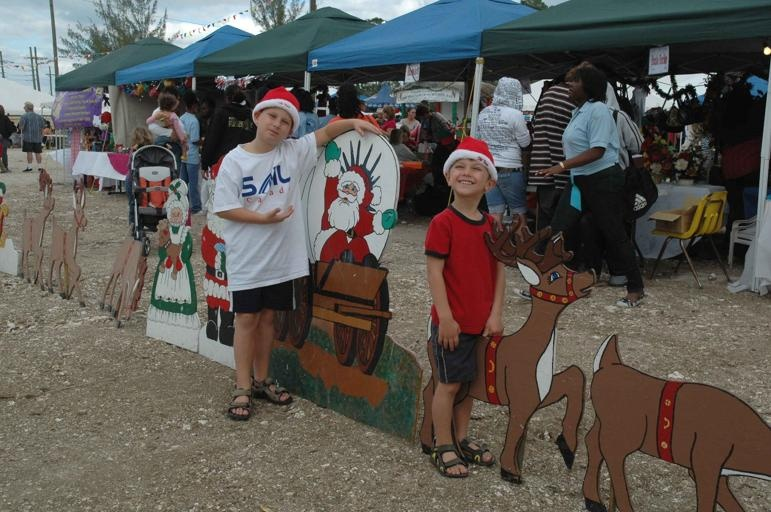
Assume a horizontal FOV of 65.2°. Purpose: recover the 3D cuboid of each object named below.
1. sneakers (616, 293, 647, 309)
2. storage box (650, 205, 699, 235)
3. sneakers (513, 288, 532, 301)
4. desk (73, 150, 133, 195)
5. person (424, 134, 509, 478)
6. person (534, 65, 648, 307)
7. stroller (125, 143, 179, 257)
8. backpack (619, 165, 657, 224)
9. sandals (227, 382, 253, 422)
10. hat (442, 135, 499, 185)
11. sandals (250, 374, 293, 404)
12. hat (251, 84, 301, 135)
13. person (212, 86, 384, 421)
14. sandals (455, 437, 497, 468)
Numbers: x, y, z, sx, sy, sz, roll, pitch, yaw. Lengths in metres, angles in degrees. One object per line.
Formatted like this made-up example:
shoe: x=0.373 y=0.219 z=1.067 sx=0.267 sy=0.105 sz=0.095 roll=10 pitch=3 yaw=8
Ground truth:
sneakers: x=2.596 y=0.470 z=6.342 sx=0.351 sy=0.141 sz=0.136 roll=-1 pitch=0 yaw=-40
storage box: x=3.365 y=-0.439 z=7.059 sx=0.472 sy=0.373 sz=0.352 roll=6 pitch=15 yaw=20
sneakers: x=1.500 y=0.406 z=6.604 sx=0.154 sy=0.065 sz=0.401 roll=2 pitch=14 yaw=5
desk: x=-5.723 y=-1.833 z=12.324 sx=1.331 sy=0.582 sz=0.604 roll=10 pitch=16 yaw=31
person: x=0.478 y=0.314 z=3.714 sx=0.481 sy=2.036 sz=0.483 roll=-4 pitch=14 yaw=-19
person: x=2.293 y=-0.767 z=6.340 sx=1.038 sy=2.452 sz=0.976 roll=-11 pitch=18 yaw=-41
stroller: x=-3.196 y=-0.901 z=8.283 sx=0.622 sy=1.234 sz=0.507 roll=-4 pitch=14 yaw=-20
backpack: x=2.819 y=-0.690 z=6.748 sx=0.299 sy=0.565 sz=0.579 roll=10 pitch=33 yaw=33
sandals: x=-1.014 y=1.049 z=4.178 sx=0.108 sy=0.111 sz=0.301 roll=1 pitch=2 yaw=-4
hat: x=0.556 y=-0.628 z=3.805 sx=0.282 sy=0.233 sz=0.294 roll=4 pitch=-8 yaw=9
sandals: x=-0.841 y=0.984 z=4.490 sx=0.350 sy=0.148 sz=0.140 roll=10 pitch=19 yaw=22
hat: x=-0.761 y=-1.023 z=4.196 sx=0.308 sy=0.315 sz=0.304 roll=-2 pitch=14 yaw=-13
person: x=-0.764 y=-0.031 z=4.266 sx=0.820 sy=2.270 sz=0.455 roll=-4 pitch=14 yaw=-20
sandals: x=0.571 y=1.252 z=3.823 sx=0.116 sy=0.091 sz=0.299 roll=-7 pitch=7 yaw=-34
